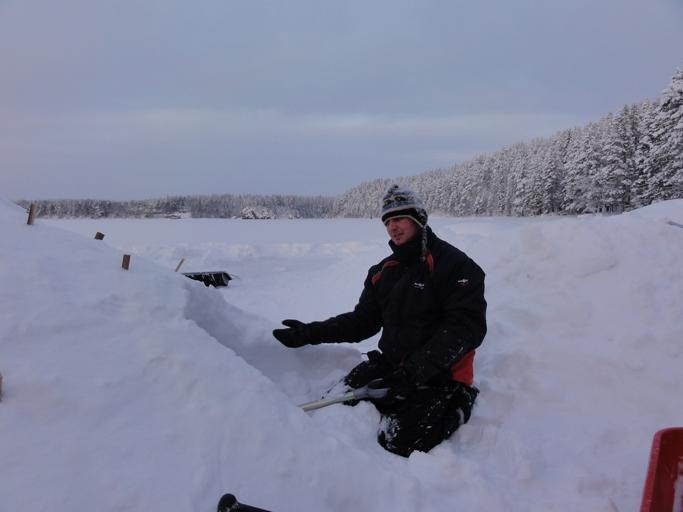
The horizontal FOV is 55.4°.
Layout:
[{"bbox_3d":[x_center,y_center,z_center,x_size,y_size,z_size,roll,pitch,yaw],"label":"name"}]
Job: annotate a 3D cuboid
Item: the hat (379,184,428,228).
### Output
[{"bbox_3d":[0.574,-0.466,6.452,0.385,0.522,0.517,-6,4,33],"label":"hat"}]
